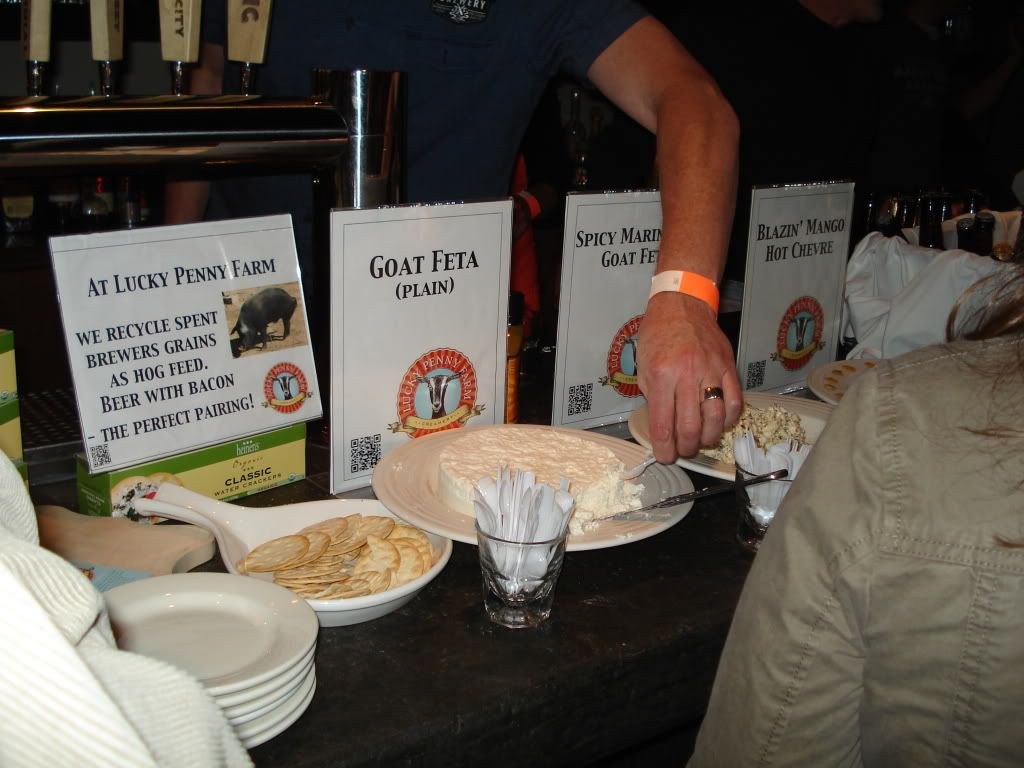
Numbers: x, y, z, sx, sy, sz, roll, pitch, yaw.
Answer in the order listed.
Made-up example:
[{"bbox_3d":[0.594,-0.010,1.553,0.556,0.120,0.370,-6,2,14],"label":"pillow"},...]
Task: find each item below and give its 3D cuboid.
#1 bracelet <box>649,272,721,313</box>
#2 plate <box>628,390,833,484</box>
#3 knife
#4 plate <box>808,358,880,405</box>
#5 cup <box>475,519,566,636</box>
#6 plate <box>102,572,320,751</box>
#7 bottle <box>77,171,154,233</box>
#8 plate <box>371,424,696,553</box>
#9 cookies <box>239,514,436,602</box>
[{"bbox_3d":[0.275,-0.151,1.171,0.094,0.057,0.091,19,3,-26],"label":"bracelet"},{"bbox_3d":[0.404,0.069,1.260,0.189,0.040,0.194,-6,16,-7],"label":"plate"},{"bbox_3d":[0.232,0.149,1.012,0.206,0.017,0.025,-17,-2,-14],"label":"knife"},{"bbox_3d":[0.647,-0.002,1.469,0.134,0.019,0.134,-32,27,-17],"label":"plate"},{"bbox_3d":[0.014,0.205,0.859,0.101,0.122,0.102,-3,16,1],"label":"cup"},{"bbox_3d":[-0.278,0.217,0.709,0.147,0.057,0.154,8,17,5],"label":"plate"},{"bbox_3d":[-1.645,-0.739,3.094,0.279,0.189,0.274,-2,16,0],"label":"bottle"},{"bbox_3d":[0.012,0.141,1.045,0.387,0.055,0.405,4,14,22],"label":"plate"},{"bbox_3d":[-0.195,0.199,0.891,0.200,0.022,0.175,7,18,29],"label":"cookies"}]
